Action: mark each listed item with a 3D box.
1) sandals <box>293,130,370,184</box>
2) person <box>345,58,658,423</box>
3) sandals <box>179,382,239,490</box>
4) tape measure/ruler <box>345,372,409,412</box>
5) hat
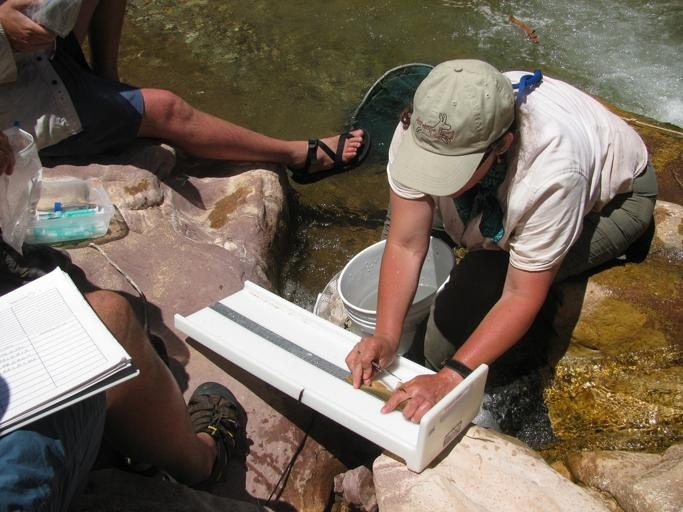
[{"bbox_3d":[-0.082,-0.617,3.794,0.488,0.185,0.296,-14,81,16],"label":"sandals"},{"bbox_3d":[0.494,-0.225,2.621,1.147,1.624,1.156,-21,47,-34],"label":"person"},{"bbox_3d":[-0.541,0.754,2.425,0.157,0.162,0.418,12,58,-7],"label":"sandals"},{"bbox_3d":[0.138,0.508,2.269,0.264,0.070,0.092,30,53,17],"label":"tape measure/ruler"},{"bbox_3d":[0.419,-0.464,2.136,0.380,0.373,0.355,21,51,12],"label":"hat"}]
